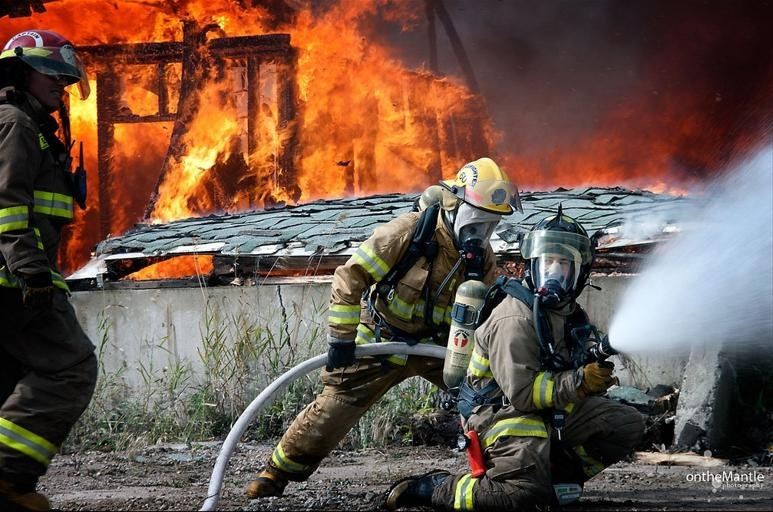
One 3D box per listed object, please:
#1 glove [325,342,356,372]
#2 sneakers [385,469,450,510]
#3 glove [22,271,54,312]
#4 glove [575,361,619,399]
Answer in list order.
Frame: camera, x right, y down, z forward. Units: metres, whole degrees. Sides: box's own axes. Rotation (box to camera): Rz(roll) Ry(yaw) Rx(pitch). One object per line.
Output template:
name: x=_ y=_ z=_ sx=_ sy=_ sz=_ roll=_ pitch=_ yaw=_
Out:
glove: x=-0.413 y=0.882 z=7.823 sx=0.210 sy=0.222 sz=0.255 roll=0 pitch=-7 yaw=12
sneakers: x=0.258 y=2.054 z=7.561 sx=0.654 sy=0.243 sz=0.293 roll=-15 pitch=24 yaw=4
glove: x=-2.846 y=0.282 z=7.128 sx=0.242 sy=0.276 sz=0.286 roll=-3 pitch=-17 yaw=-16
glove: x=1.739 y=0.956 z=7.163 sx=0.349 sy=0.210 sz=0.468 roll=-23 pitch=-4 yaw=20
